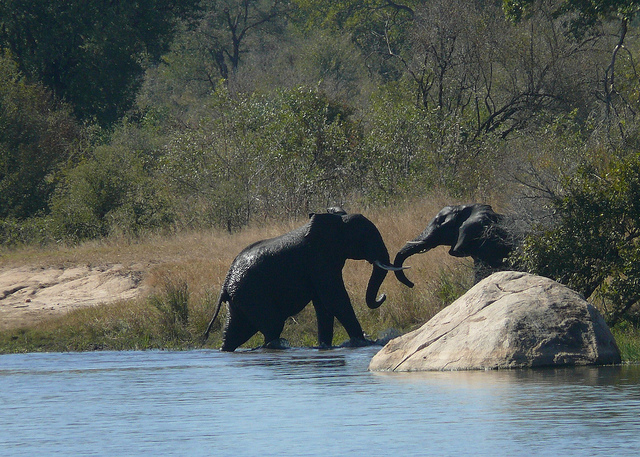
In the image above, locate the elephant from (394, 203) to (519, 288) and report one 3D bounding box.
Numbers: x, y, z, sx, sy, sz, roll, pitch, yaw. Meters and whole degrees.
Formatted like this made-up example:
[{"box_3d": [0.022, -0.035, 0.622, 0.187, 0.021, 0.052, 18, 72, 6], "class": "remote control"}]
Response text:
[{"box_3d": [4.573, 0.701, 49.872, 4.310, 3.319, 2.496, 2, 0, -4], "class": "elephant"}]
